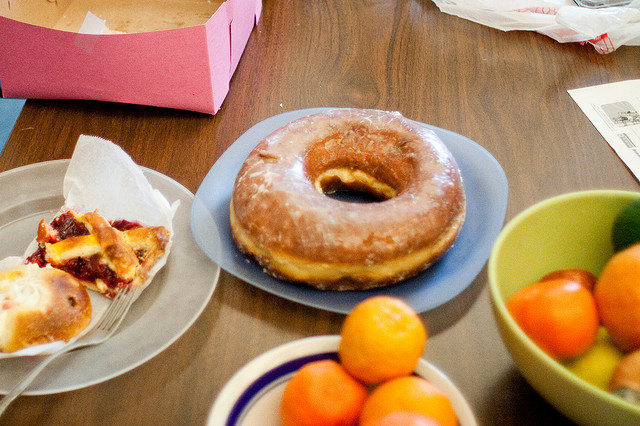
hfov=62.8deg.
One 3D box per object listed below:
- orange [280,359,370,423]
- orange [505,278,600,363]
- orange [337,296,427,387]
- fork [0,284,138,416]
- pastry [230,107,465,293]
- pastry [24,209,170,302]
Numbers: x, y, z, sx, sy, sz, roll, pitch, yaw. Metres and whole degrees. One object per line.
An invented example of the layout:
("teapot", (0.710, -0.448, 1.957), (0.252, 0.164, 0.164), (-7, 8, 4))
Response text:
("orange", (0.007, 0.241, 0.690), (0.111, 0.042, 0.086), (9, 66, 5))
("orange", (0.326, 0.145, 0.757), (0.111, 0.108, 0.106), (-40, 45, -23))
("orange", (0.085, 0.178, 0.759), (0.106, 0.112, 0.113), (1, 44, -28))
("fork", (-0.373, 0.208, 0.765), (0.031, 0.029, 0.241), (34, 59, 21))
("pastry", (0.046, -0.033, 0.932), (0.410, 0.125, 0.362), (-10, 66, -3))
("pastry", (-0.361, 0.058, 0.852), (0.172, 0.053, 0.147), (26, 57, 6))
